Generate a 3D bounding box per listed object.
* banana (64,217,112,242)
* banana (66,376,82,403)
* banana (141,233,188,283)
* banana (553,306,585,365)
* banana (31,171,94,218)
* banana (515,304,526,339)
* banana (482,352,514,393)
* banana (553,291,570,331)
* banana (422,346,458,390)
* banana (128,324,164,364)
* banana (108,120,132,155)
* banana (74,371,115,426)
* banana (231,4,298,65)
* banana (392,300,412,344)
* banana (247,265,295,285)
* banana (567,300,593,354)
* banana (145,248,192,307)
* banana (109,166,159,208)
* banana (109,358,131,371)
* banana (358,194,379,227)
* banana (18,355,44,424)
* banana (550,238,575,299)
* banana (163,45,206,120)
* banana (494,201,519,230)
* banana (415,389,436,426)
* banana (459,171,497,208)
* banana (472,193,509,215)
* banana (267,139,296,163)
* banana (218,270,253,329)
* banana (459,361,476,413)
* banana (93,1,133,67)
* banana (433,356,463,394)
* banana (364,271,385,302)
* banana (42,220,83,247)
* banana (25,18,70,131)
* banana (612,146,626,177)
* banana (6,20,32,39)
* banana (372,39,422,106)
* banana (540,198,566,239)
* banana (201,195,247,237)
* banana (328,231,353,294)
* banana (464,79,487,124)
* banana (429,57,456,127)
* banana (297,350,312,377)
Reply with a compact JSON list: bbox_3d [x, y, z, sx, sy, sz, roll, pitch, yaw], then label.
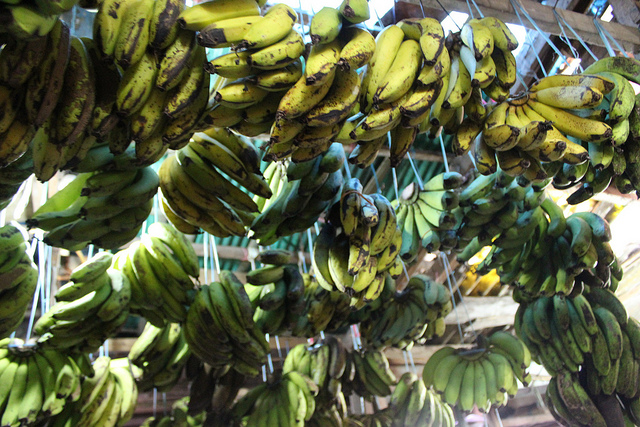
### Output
[{"bbox_3d":[-1.103,0.081,3.069,0.208,0.098,0.107,1,-18,-4],"label":"banana"},{"bbox_3d":[-1.239,0.897,3.305,0.034,0.131,0.094,5,-17,13],"label":"banana"},{"bbox_3d":[-0.775,0.235,3.241,0.065,0.243,0.078,-31,-18,-42],"label":"banana"},{"bbox_3d":[1.482,0.719,3.803,0.102,0.338,0.066,-17,-9,-13],"label":"banana"},{"bbox_3d":[-1.238,-0.104,3.130,0.383,0.165,0.094,-5,11,37],"label":"banana"},{"bbox_3d":[1.274,0.679,4.104,0.067,0.227,0.049,9,7,13],"label":"banana"},{"bbox_3d":[1.109,0.949,3.936,0.135,0.091,0.320,-18,25,0],"label":"banana"},{"bbox_3d":[1.421,0.561,3.815,0.063,0.265,0.077,-9,-35,14],"label":"banana"},{"bbox_3d":[0.767,0.970,4.068,0.059,0.261,0.181,24,-15,-20],"label":"banana"},{"bbox_3d":[-0.947,0.713,3.518,0.163,0.213,0.106,-5,-18,15],"label":"banana"},{"bbox_3d":[-0.868,-0.323,2.780,0.093,0.064,0.177,-12,-24,-26],"label":"banana"},{"bbox_3d":[-1.152,1.003,3.422,0.084,0.342,0.106,29,-20,-5],"label":"banana"},{"bbox_3d":[-0.212,-0.745,2.687,0.303,0.173,0.084,-37,-17,-12],"label":"banana"},{"bbox_3d":[0.511,0.673,3.920,0.080,0.282,0.075,3,-22,27],"label":"banana"},{"bbox_3d":[-0.252,0.329,3.537,0.074,0.103,0.286,-9,10,46],"label":"banana"},{"bbox_3d":[1.526,0.681,3.825,0.072,0.305,0.084,-22,-24,20],"label":"banana"},{"bbox_3d":[-0.761,0.321,3.237,0.059,0.284,0.091,-33,10,21],"label":"banana"},{"bbox_3d":[-0.840,-0.106,3.012,0.160,0.237,0.062,26,-43,-4],"label":"banana"},{"bbox_3d":[-1.101,0.842,3.580,0.072,0.020,0.071,3,13,-10],"label":"banana"},{"bbox_3d":[0.232,-0.016,3.006,0.097,0.184,0.159,-1,-18,4],"label":"banana"},{"bbox_3d":[-1.413,0.887,3.240,0.071,0.318,0.098,14,-32,-16],"label":"banana"},{"bbox_3d":[1.412,0.327,3.829,0.090,0.439,0.136,-12,-32,17],"label":"banana"},{"bbox_3d":[-0.540,-0.525,2.732,0.102,0.414,0.118,26,-18,-36],"label":"banana"},{"bbox_3d":[1.042,-0.001,3.606,0.063,0.131,0.202,39,19,-3],"label":"banana"},{"bbox_3d":[0.674,1.210,4.014,0.092,0.221,0.153,-15,-23,41],"label":"banana"},{"bbox_3d":[0.906,-0.133,3.663,0.076,0.287,0.094,39,-3,-5],"label":"banana"},{"bbox_3d":[0.952,-0.051,3.579,0.196,0.103,0.109,-4,-18,12],"label":"banana"},{"bbox_3d":[-0.165,-0.266,2.770,0.050,0.061,0.176,46,-34,-7],"label":"banana"},{"bbox_3d":[-0.430,0.419,3.341,0.122,0.116,0.412,5,22,-23],"label":"banana"},{"bbox_3d":[0.902,1.061,3.940,0.075,0.315,0.099,-17,-45,39],"label":"banana"},{"bbox_3d":[-0.839,-0.779,2.659,0.078,0.344,0.106,4,-20,19],"label":"banana"},{"bbox_3d":[0.796,0.966,3.990,0.065,0.283,0.126,-1,30,-46],"label":"banana"},{"bbox_3d":[0.278,0.359,3.117,0.054,0.212,0.064,39,-45,-20],"label":"banana"},{"bbox_3d":[-1.228,0.114,3.079,0.131,0.124,0.044,-3,16,-9],"label":"banana"},{"bbox_3d":[-1.084,-0.551,2.665,0.127,0.533,0.151,12,-8,-36],"label":"banana"},{"bbox_3d":[1.508,-0.261,3.248,0.071,0.134,0.029,11,-14,-22],"label":"banana"},{"bbox_3d":[-1.169,-0.712,2.515,0.057,0.043,0.090,-17,-25,42],"label":"banana"},{"bbox_3d":[0.370,-0.604,2.808,0.124,0.411,0.120,40,-31,-17],"label":"banana"},{"bbox_3d":[1.392,0.038,3.846,0.133,0.267,0.066,19,-44,-16],"label":"banana"},{"bbox_3d":[-0.457,0.009,3.091,0.048,0.070,0.188,-35,-78,32],"label":"banana"},{"bbox_3d":[0.107,0.237,3.080,0.087,0.307,0.098,-4,-44,4],"label":"banana"},{"bbox_3d":[0.715,-0.493,2.896,0.053,0.228,0.071,-9,-10,-9],"label":"banana"},{"bbox_3d":[0.555,-0.458,2.862,0.066,0.096,0.274,-11,-36,-8],"label":"banana"},{"bbox_3d":[-0.083,0.913,3.930,0.043,0.191,0.063,-13,-33,37],"label":"banana"}]
